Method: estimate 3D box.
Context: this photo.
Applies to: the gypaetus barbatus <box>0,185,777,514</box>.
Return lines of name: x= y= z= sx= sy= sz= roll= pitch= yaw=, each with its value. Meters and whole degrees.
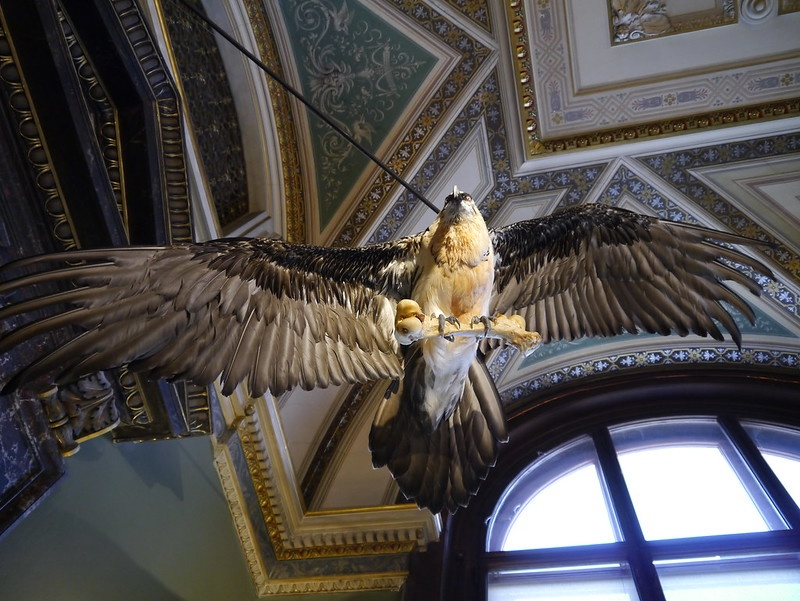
gypaetus barbatus: x=-0.285 y=0.390 z=4.004 sx=3.133 sy=1.210 sz=1.700 roll=1 pitch=-68 yaw=-10
